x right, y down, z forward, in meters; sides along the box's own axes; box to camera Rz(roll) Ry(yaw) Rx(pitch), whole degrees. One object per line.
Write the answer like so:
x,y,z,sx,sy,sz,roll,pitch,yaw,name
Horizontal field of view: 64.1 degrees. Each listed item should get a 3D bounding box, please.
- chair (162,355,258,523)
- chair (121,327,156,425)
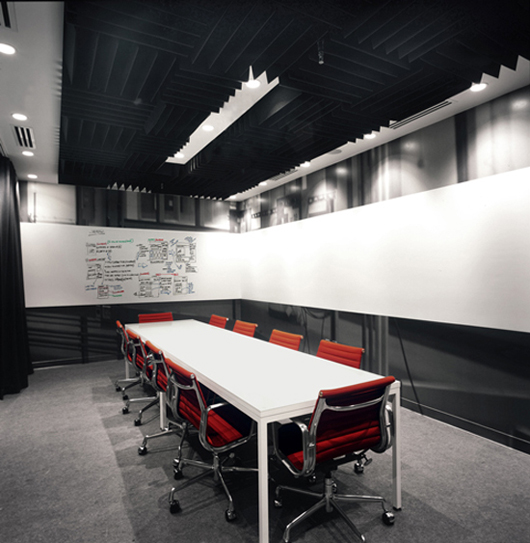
-0.400,1.132,3.174,0.619,1.096,0.737,0,7,14,chair
-1.415,1.170,4.746,0.537,0.877,0.687,-1,5,-24,chair
